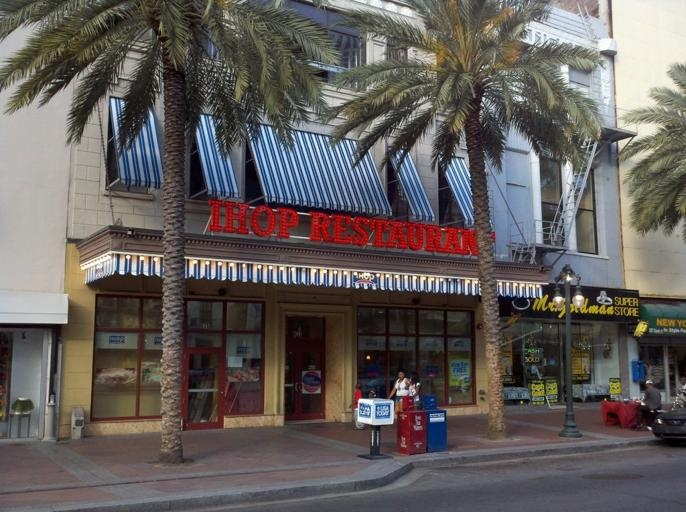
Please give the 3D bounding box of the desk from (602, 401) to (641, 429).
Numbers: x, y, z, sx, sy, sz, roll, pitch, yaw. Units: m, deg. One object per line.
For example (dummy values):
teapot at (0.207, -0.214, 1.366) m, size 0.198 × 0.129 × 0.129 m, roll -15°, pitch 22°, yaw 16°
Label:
desk at (9.823, 5.597, 24.244) m, size 0.896 × 0.755 × 0.915 m, roll 2°, pitch -5°, yaw -25°

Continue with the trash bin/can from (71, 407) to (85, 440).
trash bin/can at (-7.926, 5.038, 20.526) m, size 0.342 × 0.946 × 0.344 m, roll 5°, pitch -13°, yaw -32°
